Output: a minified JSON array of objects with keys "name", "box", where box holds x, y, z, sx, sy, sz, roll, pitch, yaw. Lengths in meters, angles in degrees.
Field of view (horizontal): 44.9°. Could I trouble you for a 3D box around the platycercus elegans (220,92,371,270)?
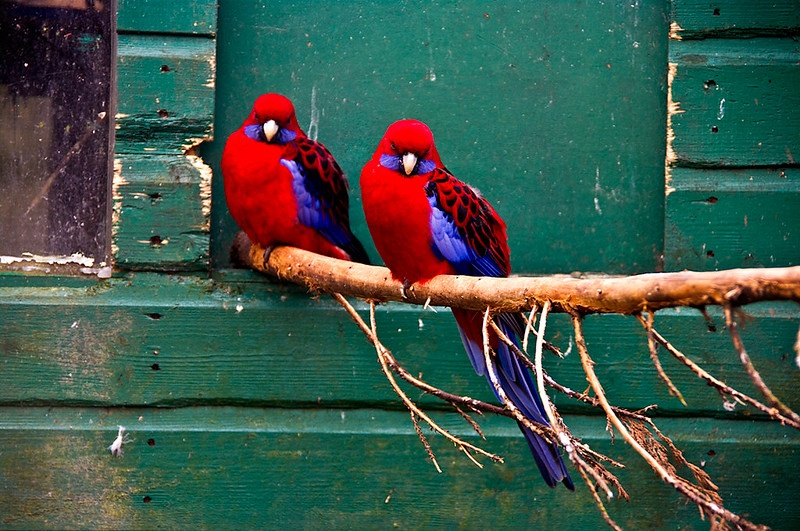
[{"name":"platycercus elegans","box":[-0.412,-0.307,4.567,0.533,0.863,0.938,14,11,41]}]
